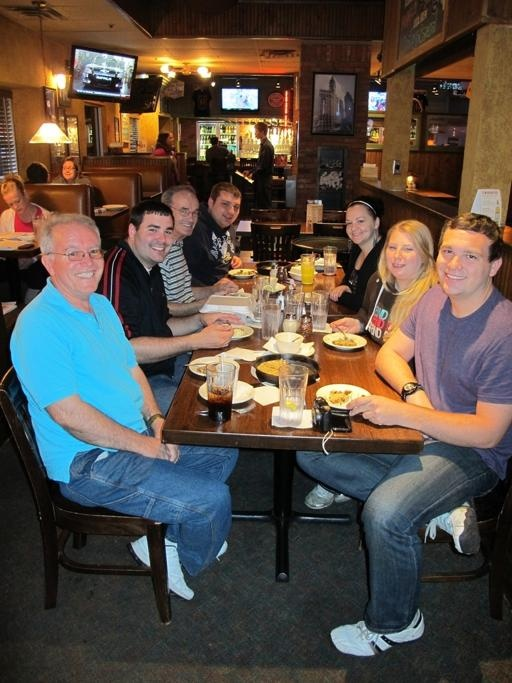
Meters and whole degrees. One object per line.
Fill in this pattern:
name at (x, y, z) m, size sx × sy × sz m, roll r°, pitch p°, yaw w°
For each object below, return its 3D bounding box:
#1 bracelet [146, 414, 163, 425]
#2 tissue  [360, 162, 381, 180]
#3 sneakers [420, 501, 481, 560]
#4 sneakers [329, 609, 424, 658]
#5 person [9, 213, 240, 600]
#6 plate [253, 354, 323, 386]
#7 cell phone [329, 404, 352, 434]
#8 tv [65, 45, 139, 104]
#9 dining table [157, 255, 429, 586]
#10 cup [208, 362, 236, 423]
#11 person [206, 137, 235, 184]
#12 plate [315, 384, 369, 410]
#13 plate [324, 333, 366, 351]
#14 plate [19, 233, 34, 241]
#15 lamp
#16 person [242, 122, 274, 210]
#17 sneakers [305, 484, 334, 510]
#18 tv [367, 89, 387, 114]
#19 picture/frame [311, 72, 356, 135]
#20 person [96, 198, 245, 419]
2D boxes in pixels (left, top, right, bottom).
bracelet at (-0.349, 0.262, 1.848) m, size 0.046 × 0.022 × 0.034 m, roll -34°, pitch -4°, yaw 8°
tissue  at (1.405, -2.097, 6.650) m, size 0.189 × 0.206 × 0.367 m, roll 3°, pitch 14°, yaw 7°
sneakers at (0.588, 0.581, 1.643) m, size 0.092 × 0.101 × 0.242 m, roll -25°, pitch -12°, yaw -2°
sneakers at (0.328, 0.874, 1.652) m, size 0.340 × 0.132 × 0.118 m, roll -3°, pitch 10°, yaw 2°
person at (-0.360, 0.220, 1.709) m, size 0.745 × 1.173 × 0.569 m, roll 2°, pitch 7°, yaw 11°
plate at (0.091, 0.083, 1.767) m, size 0.132 × 0.033 × 0.131 m, roll 13°, pitch 21°, yaw 33°
cell phone at (0.226, 0.204, 1.430) m, size 0.058 × 0.033 × 0.142 m, roll 3°, pitch 14°, yaw 8°
tv at (-2.251, -3.869, 7.697) m, size 1.306 × 0.818 × 0.128 m, roll -15°, pitch 41°, yaw -43°
dining table at (0.093, 0.407, 1.912) m, size 0.925 × 0.628 × 0.836 m, roll 2°, pitch 26°, yaw 0°
cup at (-0.094, 0.131, 1.448) m, size 0.075 × 0.144 × 0.154 m, roll 1°, pitch 14°, yaw -2°
person at (-0.760, -3.808, 11.263) m, size 0.585 × 0.940 × 0.797 m, roll 0°, pitch 14°, yaw -6°
plate at (0.257, 0.156, 1.574) m, size 0.089 × 0.019 × 0.084 m, roll -7°, pitch 21°, yaw -16°
plate at (0.344, 0.000, 2.103) m, size 0.102 × 0.022 × 0.097 m, roll 4°, pitch 21°, yaw -2°
plate at (-1.810, -0.825, 4.218) m, size 0.129 × 0.030 × 0.125 m, roll 1°, pitch 21°, yaw 1°
lamp at (-2.712, -3.278, 6.884) m, size 0.435 × 1.525 × 1.688 m, roll -4°, pitch 15°, yaw -21°
person at (0.111, -3.034, 9.250) m, size 0.314 × 1.382 × 0.519 m, roll 1°, pitch 14°, yaw -1°
sneakers at (0.273, 0.702, 2.392) m, size 0.087 × 0.057 × 0.149 m, roll 3°, pitch 6°, yaw 20°
tv at (2.726, -5.435, 12.140) m, size 0.348 × 0.580 × 0.626 m, roll 3°, pitch 14°, yaw 7°
picture/frame at (1.105, -3.462, 7.680) m, size 0.900 × 1.079 × 0.074 m, roll 0°, pitch 17°, yaw -3°
person at (-0.316, -0.098, 2.332) m, size 0.638 × 0.971 × 0.521 m, roll 0°, pitch 29°, yaw 7°
